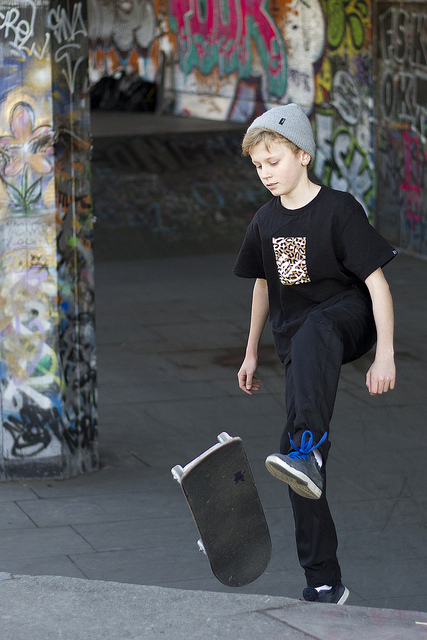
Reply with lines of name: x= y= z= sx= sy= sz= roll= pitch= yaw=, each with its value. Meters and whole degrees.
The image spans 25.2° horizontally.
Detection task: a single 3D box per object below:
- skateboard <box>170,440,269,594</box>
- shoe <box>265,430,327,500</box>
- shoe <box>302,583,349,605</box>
skateboard: x=-0.010 y=0.591 z=2.853 sx=0.256 sy=0.462 sz=0.093 roll=-30 pitch=16 yaw=-30
shoe: x=0.242 y=0.384 z=2.667 sx=0.123 sy=0.166 sz=0.249 roll=-7 pitch=-32 yaw=39
shoe: x=0.345 y=0.828 z=2.882 sx=0.150 sy=0.050 sz=0.069 roll=2 pitch=12 yaw=36
